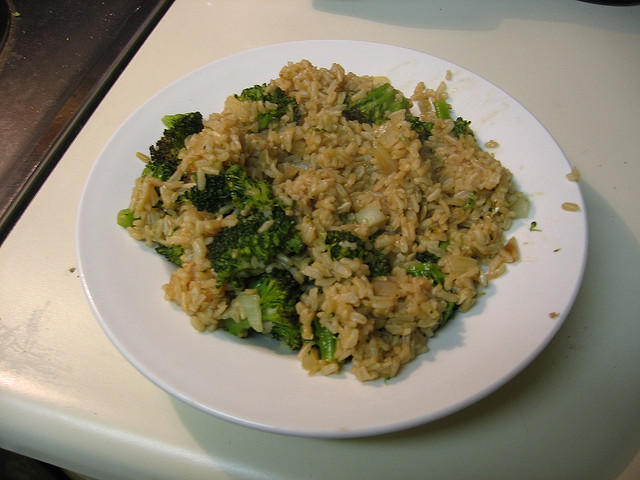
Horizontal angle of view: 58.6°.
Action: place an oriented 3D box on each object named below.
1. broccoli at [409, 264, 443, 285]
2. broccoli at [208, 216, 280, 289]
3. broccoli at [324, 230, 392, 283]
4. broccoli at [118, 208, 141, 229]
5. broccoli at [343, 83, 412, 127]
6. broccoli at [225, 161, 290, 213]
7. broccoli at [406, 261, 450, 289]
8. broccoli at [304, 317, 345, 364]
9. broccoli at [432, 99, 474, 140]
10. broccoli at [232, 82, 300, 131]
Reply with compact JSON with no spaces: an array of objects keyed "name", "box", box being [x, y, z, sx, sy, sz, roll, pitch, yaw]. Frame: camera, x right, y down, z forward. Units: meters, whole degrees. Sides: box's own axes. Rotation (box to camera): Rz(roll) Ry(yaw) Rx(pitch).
[{"name":"broccoli","box":[0.622,0.188,3.288,0.171,0.034,0.122,-9,46,1]},{"name":"broccoli","box":[-0.429,0.069,3.213,0.385,0.126,0.416,6,82,2]},{"name":"broccoli","box":[0.240,0.072,3.261,0.412,0.088,0.277,1,56,-26]},{"name":"broccoli","box":[-1.120,-0.129,3.352,0.119,0.081,0.099,1,74,-3]},{"name":"broccoli","box":[0.357,-0.820,3.643,0.404,0.102,0.280,23,115,23]},{"name":"broccoli","box":[-0.411,-0.288,3.277,0.313,0.125,0.315,-9,62,-6]},{"name":"broccoli","box":[0.615,0.178,3.285,0.205,0.048,0.143,-10,56,0]},{"name":"broccoli","box":[0.000,0.547,3.110,0.194,0.068,0.211,-5,70,13]},{"name":"broccoli","box":[0.842,-0.758,3.635,0.224,0.086,0.301,-37,75,-1]},{"name":"broccoli","box":[-0.278,-0.850,3.490,0.357,0.101,0.317,16,47,-4]}]
